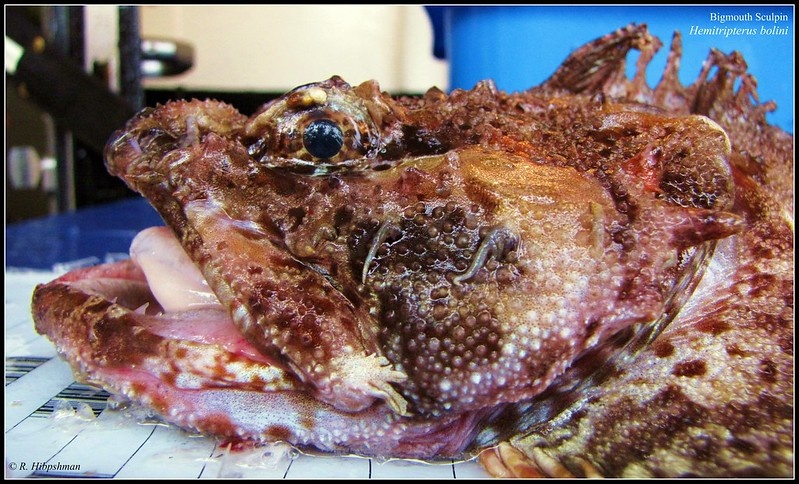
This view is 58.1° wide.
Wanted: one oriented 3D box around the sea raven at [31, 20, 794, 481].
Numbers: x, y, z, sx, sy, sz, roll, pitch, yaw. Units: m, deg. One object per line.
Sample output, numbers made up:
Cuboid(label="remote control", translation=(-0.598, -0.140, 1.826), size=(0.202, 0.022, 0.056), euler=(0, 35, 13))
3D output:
Cuboid(label="sea raven", translation=(0.075, 0.049, 1.482), size=(1.271, 0.477, 0.953), euler=(0, 16, -9))
